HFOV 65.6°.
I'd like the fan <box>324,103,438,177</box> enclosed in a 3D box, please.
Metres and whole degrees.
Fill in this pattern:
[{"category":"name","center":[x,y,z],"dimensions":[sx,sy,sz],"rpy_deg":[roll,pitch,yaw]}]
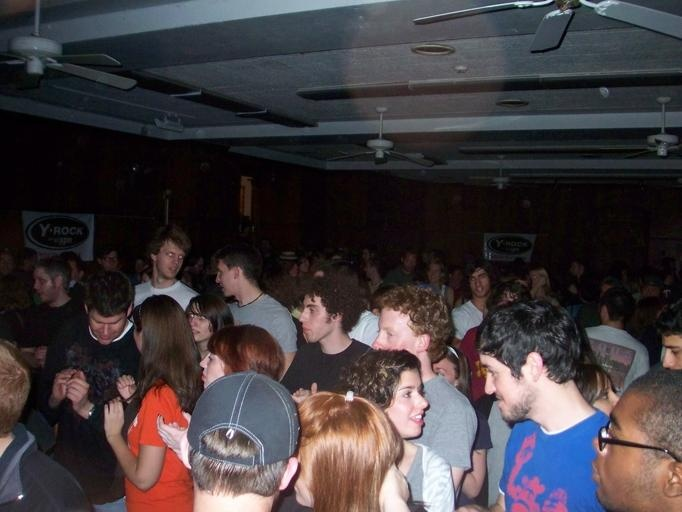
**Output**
[{"category":"fan","center":[0.626,-1.437,7.054],"dimensions":[1.109,0.552,1.161],"rpy_deg":[2,2,-3]}]

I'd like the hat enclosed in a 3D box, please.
[{"category":"hat","center":[-0.375,0.638,2.115],"dimensions":[0.350,0.198,0.360],"rpy_deg":[11,25,-2]}]
